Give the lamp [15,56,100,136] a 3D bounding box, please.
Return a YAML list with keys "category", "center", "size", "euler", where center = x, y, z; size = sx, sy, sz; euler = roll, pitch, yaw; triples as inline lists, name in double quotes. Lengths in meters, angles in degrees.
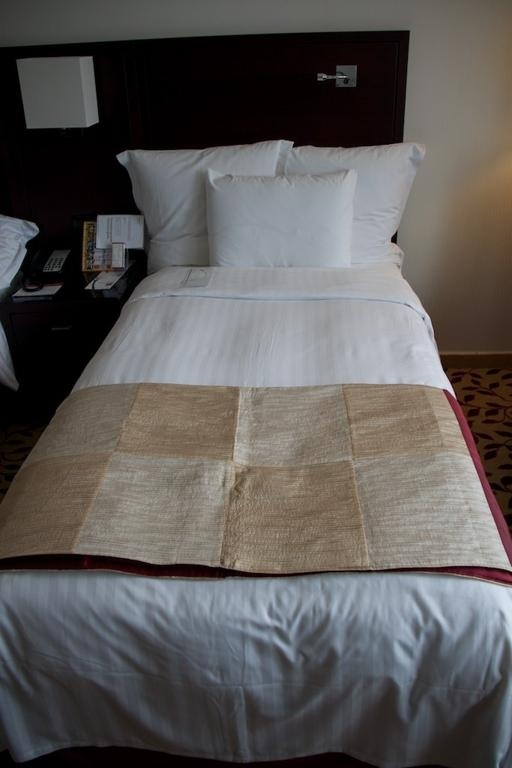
- category: "lamp"
  center: [-0.778, -1.174, 2.315]
  size: [0.359, 0.392, 0.282]
  euler: [-3, 26, -2]
